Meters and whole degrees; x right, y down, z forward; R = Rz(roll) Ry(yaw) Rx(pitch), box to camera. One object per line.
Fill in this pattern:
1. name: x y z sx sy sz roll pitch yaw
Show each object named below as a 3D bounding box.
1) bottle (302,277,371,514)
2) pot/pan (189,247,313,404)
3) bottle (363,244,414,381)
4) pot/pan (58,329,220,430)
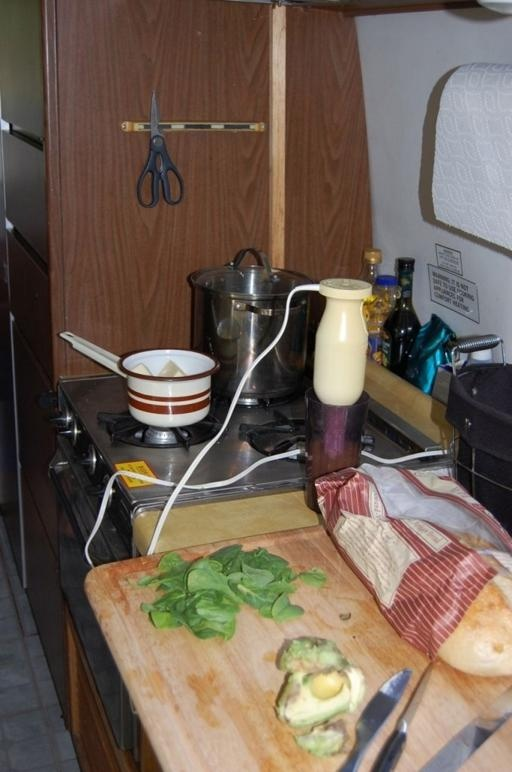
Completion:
1. bottle: 0.100 0.026 0.718 0.076 0.312 0.101 4 10 10
2. pot/pan: -0.001 -0.132 1.165 0.205 0.289 0.303 -1 20 -1
3. bottle: 0.271 -0.143 1.166 0.077 0.249 0.210 -5 29 -8
4. pot/pan: -0.237 -0.023 1.016 0.349 0.131 0.173 10 20 23
